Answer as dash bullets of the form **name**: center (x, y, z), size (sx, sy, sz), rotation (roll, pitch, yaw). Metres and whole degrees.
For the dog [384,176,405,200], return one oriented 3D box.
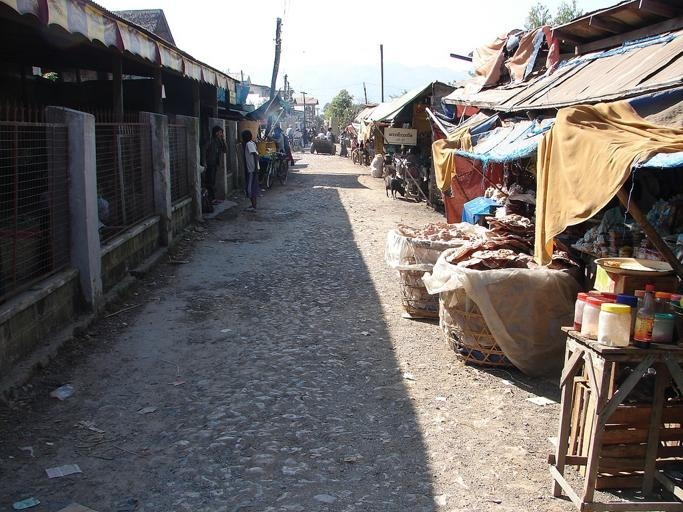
- **dog**: center (1.986, -2.523, 18.267), size (0.721, 0.800, 1.476), rotation (3, 17, 7)

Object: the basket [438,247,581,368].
- **basket**: center (1.812, 0.512, 5.672), size (1.268, 0.772, 1.203), rotation (1, 13, -5)

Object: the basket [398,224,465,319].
- **basket**: center (1.063, 0.190, 7.209), size (1.239, 0.924, 1.182), rotation (-1, 12, -13)

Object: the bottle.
- **bottle**: center (2.011, 0.416, 3.525), size (0.576, 0.274, 0.392), rotation (7, -2, 8)
